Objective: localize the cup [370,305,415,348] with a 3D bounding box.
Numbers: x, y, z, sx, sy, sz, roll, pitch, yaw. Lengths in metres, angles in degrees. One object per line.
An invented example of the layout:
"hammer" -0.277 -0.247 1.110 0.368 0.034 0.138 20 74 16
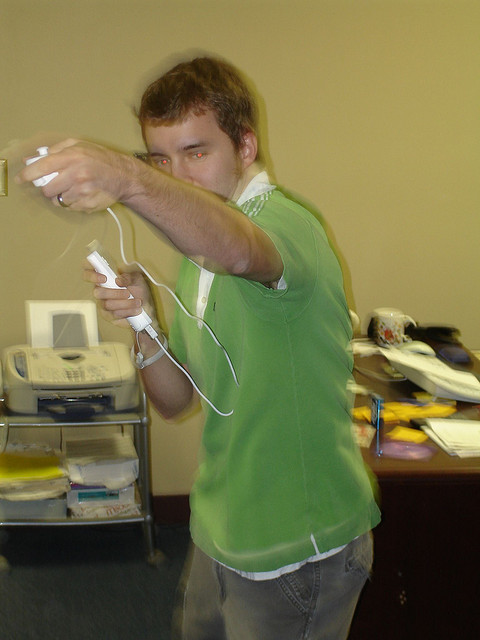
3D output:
"cup" 0.500 0.029 1.733 0.132 0.117 0.081 3 9 32

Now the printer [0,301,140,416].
"printer" -0.398 0.092 1.231 0.302 0.228 0.164 -2 39 -21

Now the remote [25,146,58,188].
"remote" -0.138 -0.107 0.381 0.020 0.028 0.029 -2 13 -20

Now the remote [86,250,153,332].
"remote" -0.137 -0.031 0.632 0.027 0.028 0.107 33 -9 44
